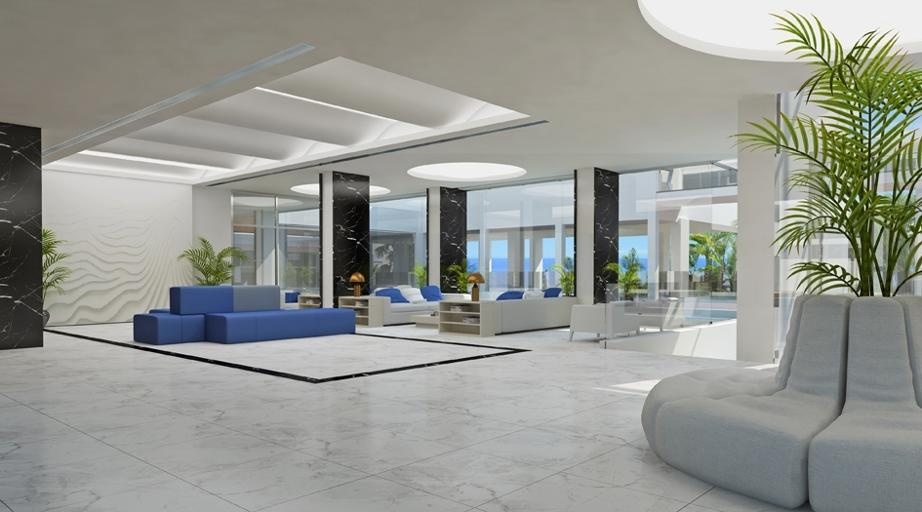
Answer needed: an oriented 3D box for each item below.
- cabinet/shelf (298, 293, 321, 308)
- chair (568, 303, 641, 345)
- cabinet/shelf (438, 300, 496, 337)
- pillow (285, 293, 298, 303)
[{"bbox_3d":[-4.957,1.445,15.521,1.024,0.496,0.513,-3,-5,40],"label":"cabinet/shelf"},{"bbox_3d":[3.131,1.412,10.591,1.356,0.746,1.012,-3,-3,43],"label":"chair"},{"bbox_3d":[0.115,1.579,12.184,1.302,0.642,0.630,-1,-5,33],"label":"cabinet/shelf"},{"bbox_3d":[-5.746,1.423,16.321,0.430,0.255,0.420,-5,-9,37],"label":"pillow"}]
